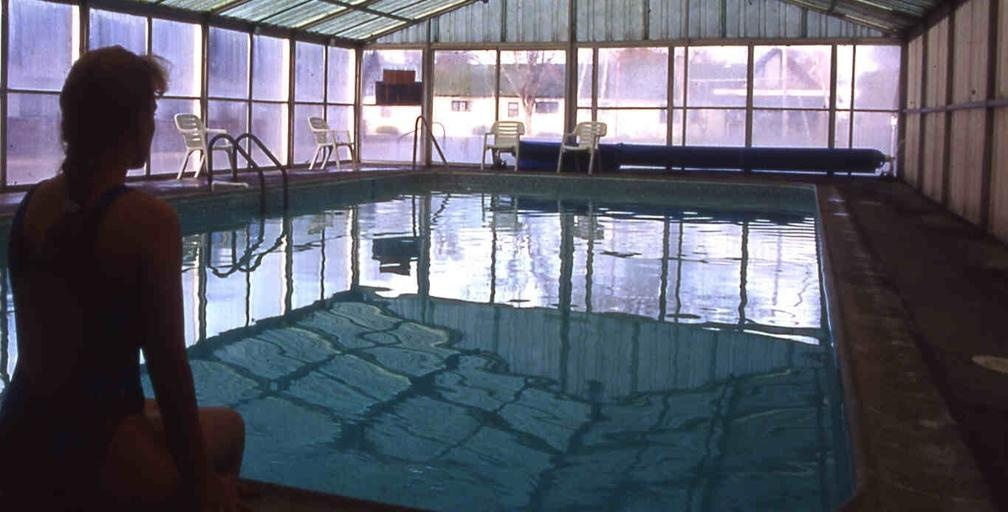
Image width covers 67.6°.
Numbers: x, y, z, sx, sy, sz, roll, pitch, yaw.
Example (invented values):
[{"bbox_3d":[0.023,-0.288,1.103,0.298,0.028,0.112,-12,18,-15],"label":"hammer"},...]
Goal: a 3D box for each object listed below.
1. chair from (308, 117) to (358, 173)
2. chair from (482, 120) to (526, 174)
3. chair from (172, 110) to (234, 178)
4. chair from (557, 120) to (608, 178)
[{"bbox_3d":[-3.412,-2.237,14.894,0.975,1.013,0.965,-3,9,-21],"label":"chair"},{"bbox_3d":[0.012,-2.281,15.274,0.707,0.938,0.690,5,3,-2],"label":"chair"},{"bbox_3d":[-4.830,-1.771,11.962,0.699,0.768,0.686,-7,23,-37],"label":"chair"},{"bbox_3d":[1.535,-2.131,14.785,0.890,0.999,0.865,4,7,14],"label":"chair"}]
